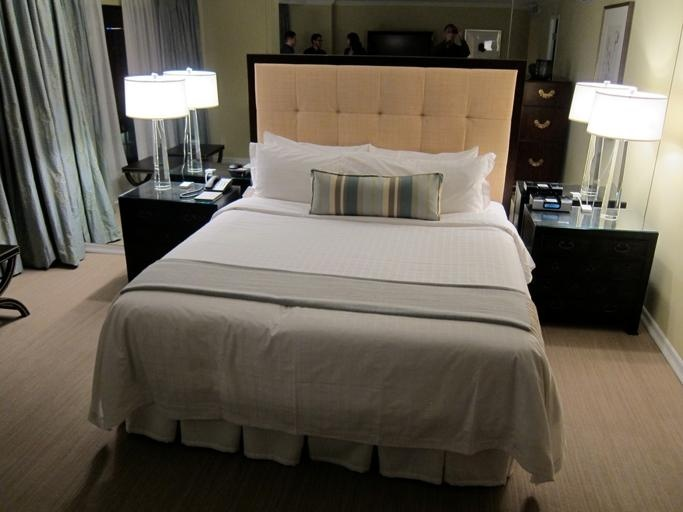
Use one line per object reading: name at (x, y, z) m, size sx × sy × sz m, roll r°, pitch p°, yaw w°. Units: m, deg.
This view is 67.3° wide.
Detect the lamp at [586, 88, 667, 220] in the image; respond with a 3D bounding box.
lamp at (1.965, -0.685, 3.575) m, size 0.504 × 0.859 × 0.449 m, roll -12°, pitch 25°, yaw -27°

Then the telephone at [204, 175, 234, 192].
telephone at (-0.985, -0.583, 4.170) m, size 0.117 × 0.067 × 0.171 m, roll -2°, pitch 27°, yaw 1°

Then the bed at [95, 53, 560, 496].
bed at (0.120, -0.218, 3.300) m, size 2.356 × 1.901 × 2.646 m, roll 5°, pitch 23°, yaw 12°

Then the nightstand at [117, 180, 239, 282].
nightstand at (-1.245, -0.305, 4.285) m, size 0.869 × 0.949 × 0.685 m, roll 2°, pitch 24°, yaw 6°
